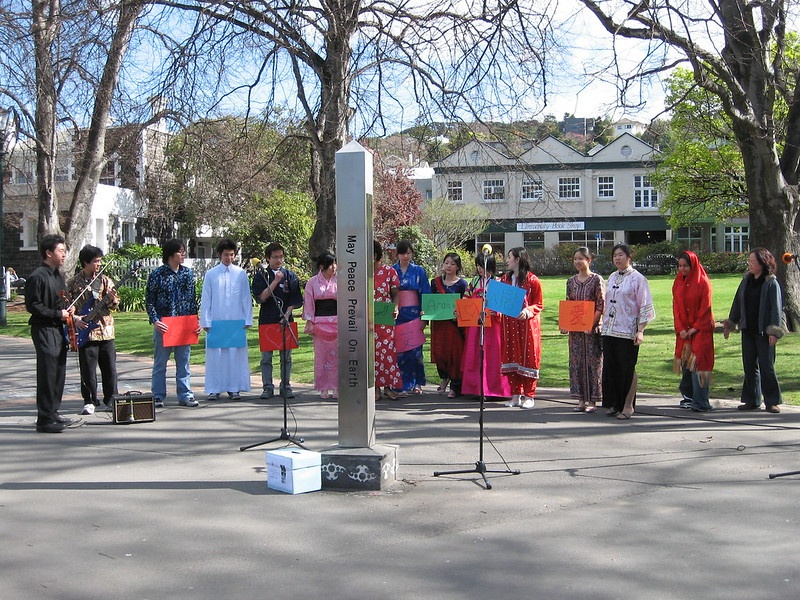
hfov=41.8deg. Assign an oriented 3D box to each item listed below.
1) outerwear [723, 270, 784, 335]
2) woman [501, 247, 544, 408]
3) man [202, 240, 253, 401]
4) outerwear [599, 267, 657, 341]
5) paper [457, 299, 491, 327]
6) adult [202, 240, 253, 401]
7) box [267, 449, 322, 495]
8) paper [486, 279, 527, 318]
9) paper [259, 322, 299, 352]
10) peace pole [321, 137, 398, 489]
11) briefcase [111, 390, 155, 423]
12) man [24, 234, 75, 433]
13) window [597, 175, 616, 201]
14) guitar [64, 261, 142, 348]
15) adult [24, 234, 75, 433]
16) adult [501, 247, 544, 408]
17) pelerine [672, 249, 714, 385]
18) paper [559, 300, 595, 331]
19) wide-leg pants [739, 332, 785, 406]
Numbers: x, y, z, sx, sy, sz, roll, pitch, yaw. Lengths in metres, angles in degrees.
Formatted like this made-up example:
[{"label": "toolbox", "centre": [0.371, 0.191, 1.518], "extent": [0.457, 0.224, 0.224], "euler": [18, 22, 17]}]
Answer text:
[{"label": "outerwear", "centre": [5.194, 0.064, 15.259], "extent": [0.758, 0.825, 0.878], "euler": [4, 12, 18]}, {"label": "woman", "centre": [1.812, 0.413, 15.773], "extent": [0.632, 2.389, 0.914], "euler": [2, 11, 6]}, {"label": "man", "centre": [-2.693, 0.320, 16.133], "extent": [0.773, 2.588, 0.695], "euler": [-2, 11, -11]}, {"label": "outerwear", "centre": [3.174, 0.026, 14.904], "extent": [0.435, 0.997, 1.086], "euler": [6, 0, -32]}, {"label": "paper", "centre": [1.035, 0.163, 14.950], "extent": [0.406, 0.349, 0.055], "euler": [-2, -12, 26]}, {"label": "adult", "centre": [-2.691, 0.315, 16.124], "extent": [0.773, 2.575, 0.678], "euler": [-2, 11, -11]}, {"label": "box", "centre": [-1.222, 1.879, 12.055], "extent": [0.465, 0.416, 0.625], "euler": [3, -4, -43]}, {"label": "paper", "centre": [1.431, -0.037, 13.975], "extent": [0.504, 0.384, 0.026], "euler": [15, -1, -6]}, {"label": "paper", "centre": [-1.803, 0.527, 15.440], "extent": [0.522, 0.361, 0.018], "euler": [1, -12, -14]}, {"label": "peace pole", "centre": [-0.463, 0.176, 12.070], "extent": [0.840, 3.910, 1.038], "euler": [0, 11, 0]}, {"label": "briefcase", "centre": [-3.783, 1.522, 14.850], "extent": [0.680, 0.578, 0.380], "euler": [5, -8, -40]}, {"label": "man", "centre": [-4.766, 0.457, 14.226], "extent": [0.546, 2.592, 0.738], "euler": [-1, 11, -8]}, {"label": "window", "centre": [11.874, -6.477, 60.023], "extent": [1.444, 1.646, 0.128], "euler": [0, 2, 1]}, {"label": "guitar", "centre": [-4.283, -0.063, 15.053], "extent": [0.670, 1.542, 0.182], "euler": [31, 7, -4]}, {"label": "adult", "centre": [-4.767, 0.456, 14.232], "extent": [0.546, 2.592, 0.750], "euler": [-1, 11, -8]}, {"label": "adult", "centre": [1.816, 0.410, 15.789], "extent": [0.639, 2.389, 0.986], "euler": [1, 11, 6]}, {"label": "pelerine", "centre": [4.284, 0.238, 15.238], "extent": [0.432, 1.860, 0.773], "euler": [-4, 12, -19]}, {"label": "paper", "centre": [2.536, 0.246, 14.976], "extent": [0.503, 0.487, 0.308], "euler": [3, 11, 11]}, {"label": "wide-leg pants", "centre": [5.247, 1.030, 15.206], "extent": [0.483, 1.104, 0.547], "euler": [0, 11, -3]}]
